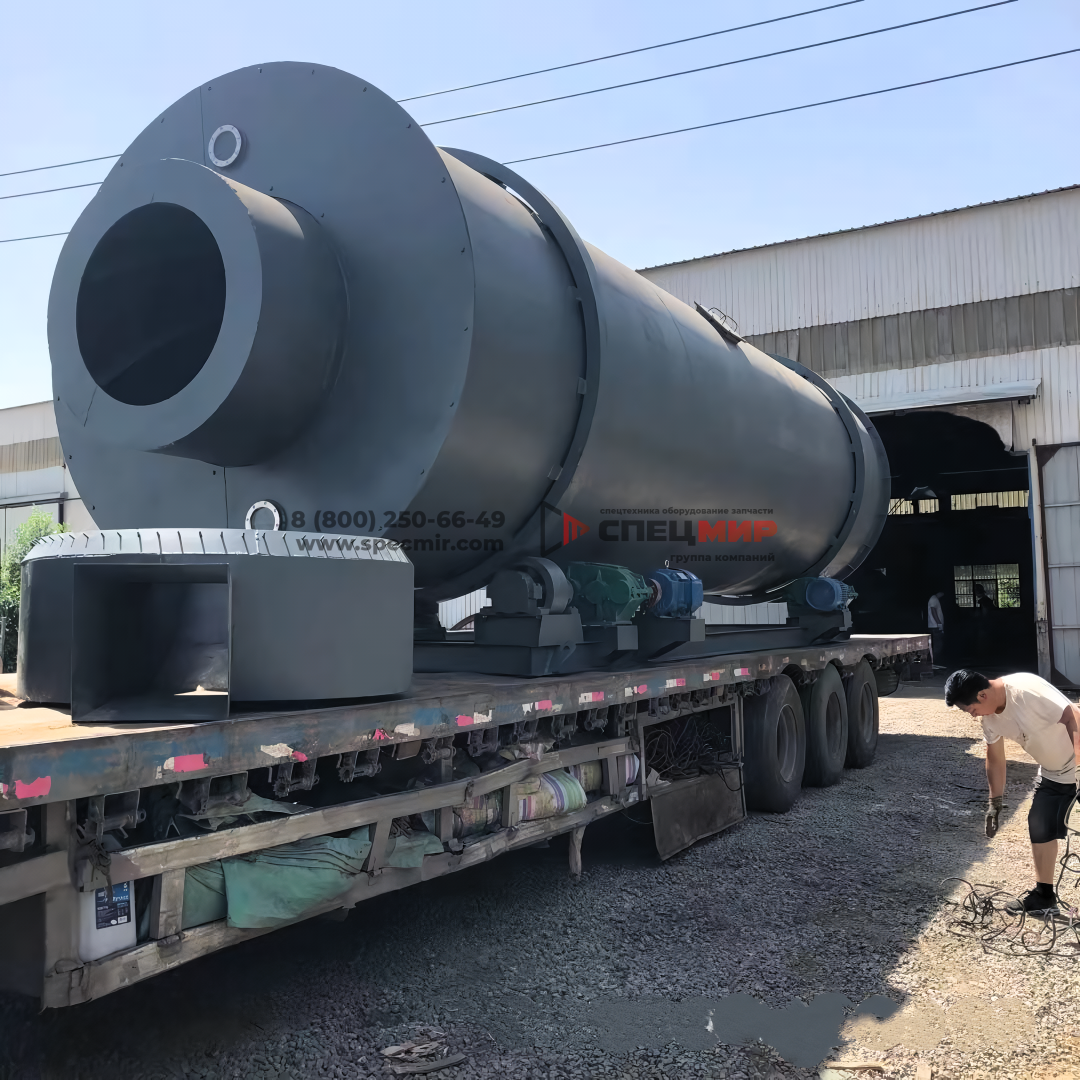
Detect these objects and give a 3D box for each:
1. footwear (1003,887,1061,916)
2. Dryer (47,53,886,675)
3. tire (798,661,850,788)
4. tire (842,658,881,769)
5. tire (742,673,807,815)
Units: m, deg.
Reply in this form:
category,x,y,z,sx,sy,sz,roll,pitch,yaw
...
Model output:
category,x,y,z,sx,sy,sz,roll,pitch,yaw
footwear,2.676,1.955,5.080,0.305,0.166,0.134,-1,-11,-5
Dryer,-0.376,-0.912,6.279,2.244,2.497,4.992,-4,-9,39
tire,2.610,1.708,8.576,0.252,0.916,0.848,-1,-24,12
tire,3.278,1.774,9.508,0.257,0.931,0.834,1,18,21
tire,1.878,1.661,7.517,0.283,1.035,0.907,-3,8,29
